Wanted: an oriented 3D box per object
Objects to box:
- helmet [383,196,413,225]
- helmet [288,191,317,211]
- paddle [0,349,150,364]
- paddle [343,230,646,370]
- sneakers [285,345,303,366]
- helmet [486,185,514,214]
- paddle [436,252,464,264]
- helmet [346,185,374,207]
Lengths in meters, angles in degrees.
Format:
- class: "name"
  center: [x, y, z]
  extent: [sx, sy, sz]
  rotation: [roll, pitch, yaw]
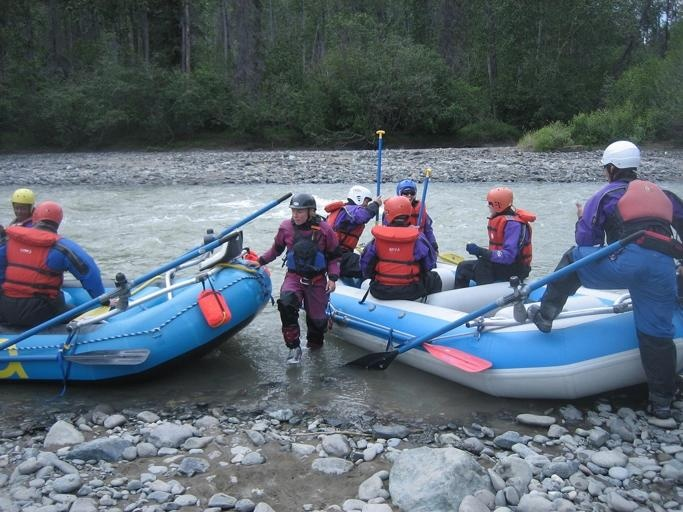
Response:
- class: "helmet"
  center: [0.696, -0.563, 8.881]
  extent: [0.333, 0.352, 0.359]
  rotation: [0, 13, 2]
- class: "helmet"
  center: [-0.465, -0.646, 8.580]
  extent: [0.301, 0.194, 0.284]
  rotation: [-1, 11, -5]
- class: "paddle"
  center: [-2.992, 1.133, 8.075]
  extent: [1.649, 0.179, 0.134]
  rotation: [0, 14, 2]
- class: "paddle"
  center: [1.727, 0.554, 8.250]
  extent: [4.566, 0.578, 0.461]
  rotation: [-19, 32, 29]
- class: "sneakers"
  center: [-0.565, 1.210, 8.693]
  extent: [0.205, 0.095, 0.235]
  rotation: [2, 41, 3]
- class: "helmet"
  center: [2.002, -0.694, 9.079]
  extent: [0.309, 0.325, 0.239]
  rotation: [1, 14, 6]
- class: "paddle"
  center: [1.569, 0.041, 10.807]
  extent: [0.141, 0.098, 0.524]
  rotation: [-3, 11, -43]
- class: "helmet"
  center: [0.273, -0.843, 10.009]
  extent: [0.436, 0.229, 0.310]
  rotation: [-22, 30, -28]
